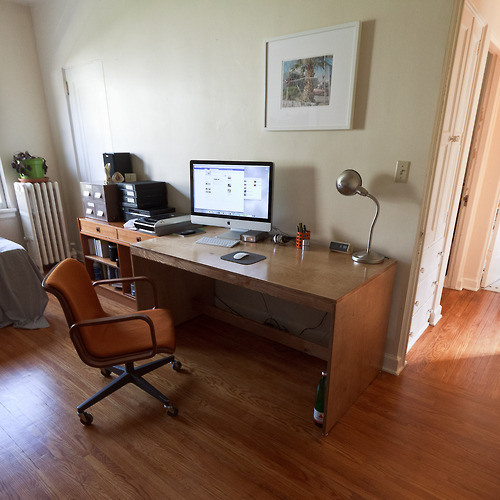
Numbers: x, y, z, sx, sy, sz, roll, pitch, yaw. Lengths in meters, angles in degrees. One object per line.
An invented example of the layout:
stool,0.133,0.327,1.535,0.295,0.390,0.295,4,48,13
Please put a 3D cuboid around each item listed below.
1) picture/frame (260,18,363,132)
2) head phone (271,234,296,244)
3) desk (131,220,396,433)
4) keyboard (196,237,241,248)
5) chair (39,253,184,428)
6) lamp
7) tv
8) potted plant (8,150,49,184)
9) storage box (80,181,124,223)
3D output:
picture/frame,0.369,-1.005,2.287,0.619,0.555,0.025,12,19,35
head phone,0.215,-0.067,2.574,0.103,0.038,0.078,-3,2,11
desk,0.065,0.351,2.499,1.327,0.701,0.701,12,20,35
keyboard,-0.187,-0.050,2.553,0.168,0.007,0.076,11,27,34
chair,-0.688,0.441,2.187,0.697,0.811,0.640,-15,20,-37
lamp,0.625,-0.193,2.255,0.288,0.496,0.277,4,18,17
tv,-0.104,-0.331,2.557,0.444,0.393,0.145,8,15,28
potted plant,-2.111,-0.813,3.942,0.343,0.276,0.351,-16,23,-38
storage box,-1.255,-0.422,3.499,0.405,0.301,0.219,13,20,42
